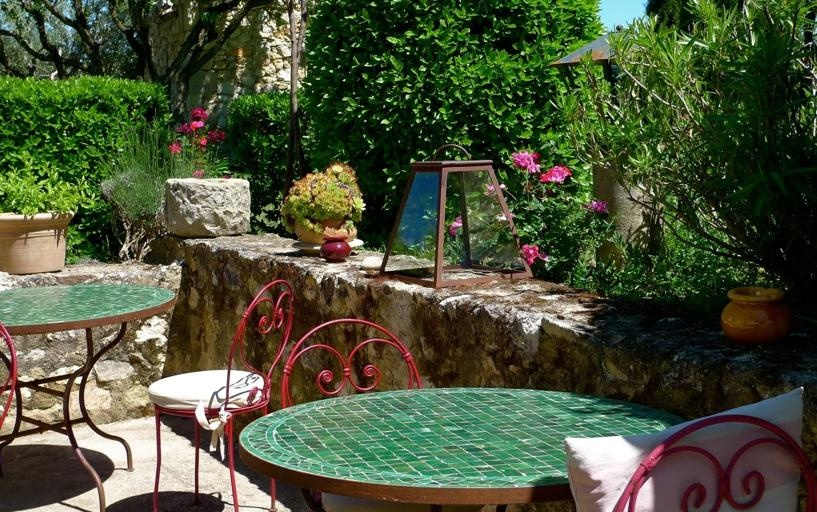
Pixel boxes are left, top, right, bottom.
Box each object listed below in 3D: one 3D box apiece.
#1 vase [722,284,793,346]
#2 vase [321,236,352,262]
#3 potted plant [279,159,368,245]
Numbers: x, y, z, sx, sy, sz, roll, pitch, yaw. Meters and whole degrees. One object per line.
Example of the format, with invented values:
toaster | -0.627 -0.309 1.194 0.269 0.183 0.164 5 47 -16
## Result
vase | 1.328 0.217 2.632 0.206 0.174 0.217 -3 1 14
vase | -0.476 -0.048 4.494 0.161 0.141 0.170 -3 4 3
potted plant | -0.570 -0.354 4.880 0.505 0.482 0.551 -1 -2 41
